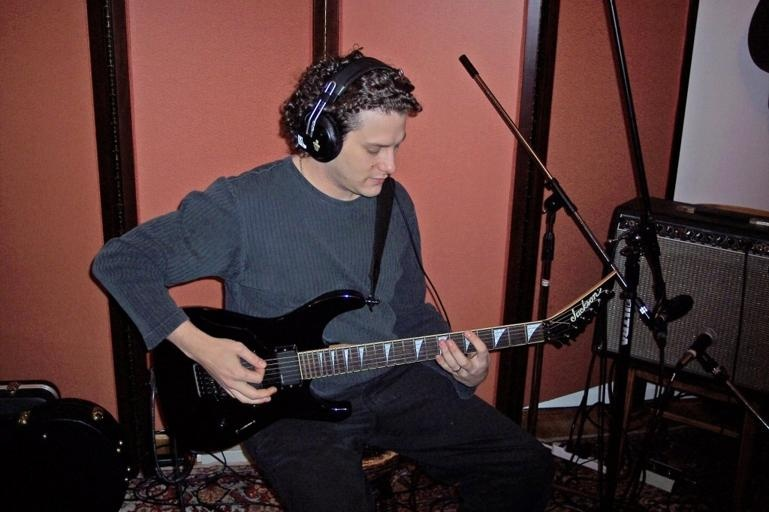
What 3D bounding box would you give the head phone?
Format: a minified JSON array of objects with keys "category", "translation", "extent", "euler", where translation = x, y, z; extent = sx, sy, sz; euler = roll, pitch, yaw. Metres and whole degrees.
[{"category":"head phone","translation":[-0.149,-0.689,3.239],"extent":[0.226,0.478,0.564],"euler":[31,22,24]}]
